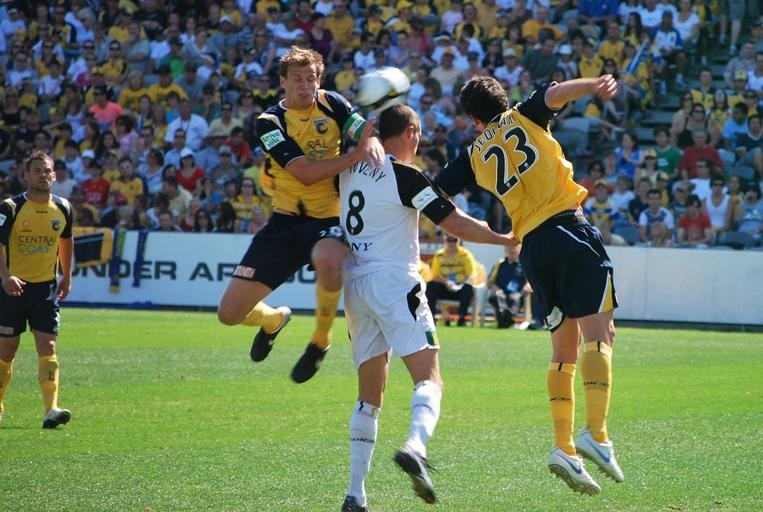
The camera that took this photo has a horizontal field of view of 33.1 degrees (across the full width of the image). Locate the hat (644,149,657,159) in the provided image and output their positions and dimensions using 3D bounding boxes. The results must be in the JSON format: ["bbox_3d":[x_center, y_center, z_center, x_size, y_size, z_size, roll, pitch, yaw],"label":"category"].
[{"bbox_3d":[5.022,-1.909,23.931,0.199,0.156,0.302,1,2,13],"label":"hat"}]

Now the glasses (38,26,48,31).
[{"bbox_3d":[-6.986,-4.704,26.469,0.113,0.112,0.037,-3,29,7],"label":"glasses"}]

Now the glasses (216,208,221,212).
[{"bbox_3d":[-3.138,-0.893,24.726,0.058,0.076,0.019,4,-1,22],"label":"glasses"}]

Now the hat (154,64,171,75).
[{"bbox_3d":[-4.365,-3.731,25.647,0.329,0.183,0.136,1,0,34],"label":"hat"}]

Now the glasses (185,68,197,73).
[{"bbox_3d":[-3.822,-3.768,25.778,0.143,0.137,0.053,-3,47,-20],"label":"glasses"}]

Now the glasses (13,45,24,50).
[{"bbox_3d":[-7.478,-4.334,26.491,0.127,0.123,0.041,1,34,2],"label":"glasses"}]

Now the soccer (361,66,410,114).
[{"bbox_3d":[0.063,-2.097,16.031,0.635,0.467,0.478,-1,15,13],"label":"soccer"}]

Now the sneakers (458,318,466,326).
[{"bbox_3d":[1.454,1.205,23.315,0.140,0.210,0.132,1,0,15],"label":"sneakers"}]

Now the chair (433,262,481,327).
[{"bbox_3d":[1.525,0.749,23.889,1.076,1.373,1.077,2,-4,1],"label":"chair"}]

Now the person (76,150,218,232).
[{"bbox_3d":[-4.471,-1.255,25.068,2.019,1.533,0.527,1,0,20],"label":"person"}]

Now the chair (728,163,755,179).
[{"bbox_3d":[5.892,-1.390,20.934,0.284,0.261,0.253,16,24,8],"label":"chair"}]

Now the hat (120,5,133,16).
[{"bbox_3d":[-5.176,-4.999,26.129,0.224,0.169,0.165,1,0,-11],"label":"hat"}]

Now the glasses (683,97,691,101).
[{"bbox_3d":[5.288,-2.733,22.208,0.078,0.077,0.026,-10,4,29],"label":"glasses"}]

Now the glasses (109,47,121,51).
[{"bbox_3d":[-5.441,-4.250,26.209,0.305,0.107,0.042,1,0,21],"label":"glasses"}]

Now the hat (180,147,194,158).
[{"bbox_3d":[-3.778,-2.030,24.995,0.180,0.206,0.245,-3,7,-6],"label":"hat"}]

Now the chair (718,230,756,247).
[{"bbox_3d":[5.875,-0.267,21.287,0.623,0.301,0.264,1,0,21],"label":"chair"}]

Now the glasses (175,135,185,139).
[{"bbox_3d":[-3.927,-2.337,25.130,0.119,0.039,0.120,-1,-9,0],"label":"glasses"}]
